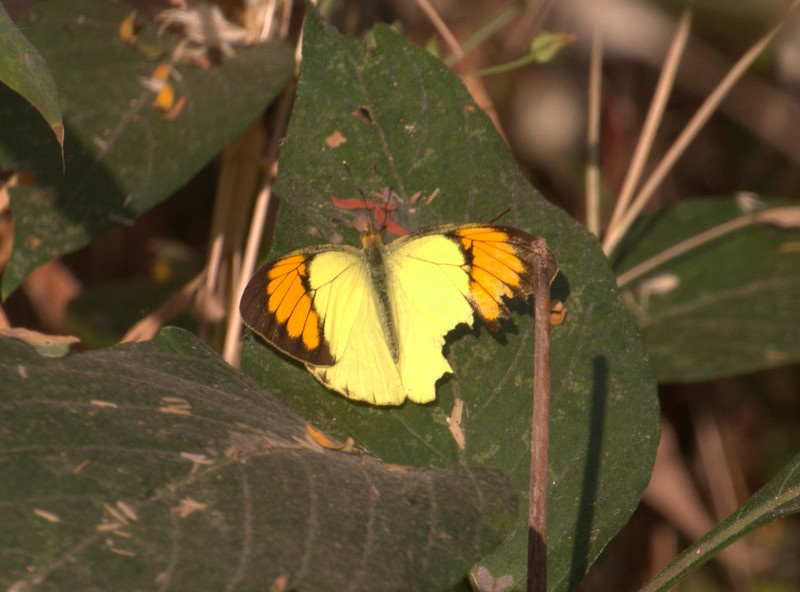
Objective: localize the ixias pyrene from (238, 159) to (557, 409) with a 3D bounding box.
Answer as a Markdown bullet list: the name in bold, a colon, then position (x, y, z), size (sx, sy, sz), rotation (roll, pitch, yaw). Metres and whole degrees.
- **ixias pyrene**: position (-0.003, -0.016, 1.430), size (0.445, 0.349, 0.054), rotation (-6, -1, 27)
